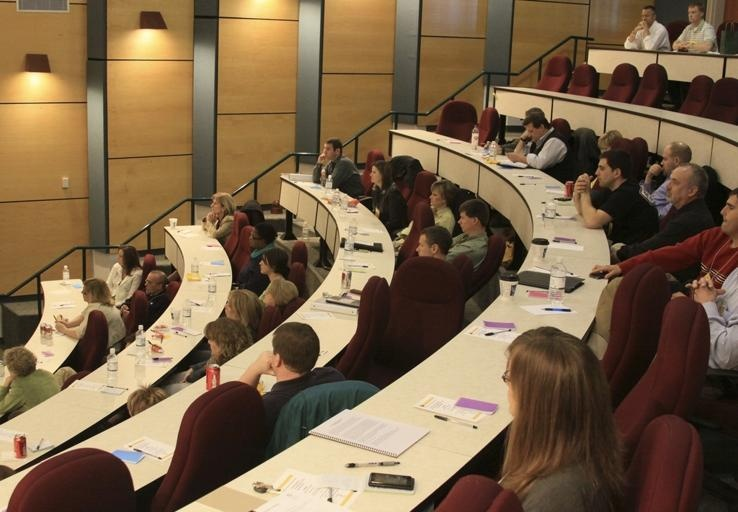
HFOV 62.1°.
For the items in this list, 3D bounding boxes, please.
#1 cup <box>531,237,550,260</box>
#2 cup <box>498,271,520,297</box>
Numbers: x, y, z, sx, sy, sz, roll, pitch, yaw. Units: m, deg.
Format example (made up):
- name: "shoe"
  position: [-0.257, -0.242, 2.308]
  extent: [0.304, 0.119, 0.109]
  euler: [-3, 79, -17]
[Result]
- name: "cup"
  position: [1.266, -0.055, 4.544]
  extent: [0.130, 0.144, 0.139]
  euler: [2, 6, 0]
- name: "cup"
  position: [0.879, 0.179, 3.970]
  extent: [0.132, 0.160, 0.133]
  euler: [0, 6, 0]
